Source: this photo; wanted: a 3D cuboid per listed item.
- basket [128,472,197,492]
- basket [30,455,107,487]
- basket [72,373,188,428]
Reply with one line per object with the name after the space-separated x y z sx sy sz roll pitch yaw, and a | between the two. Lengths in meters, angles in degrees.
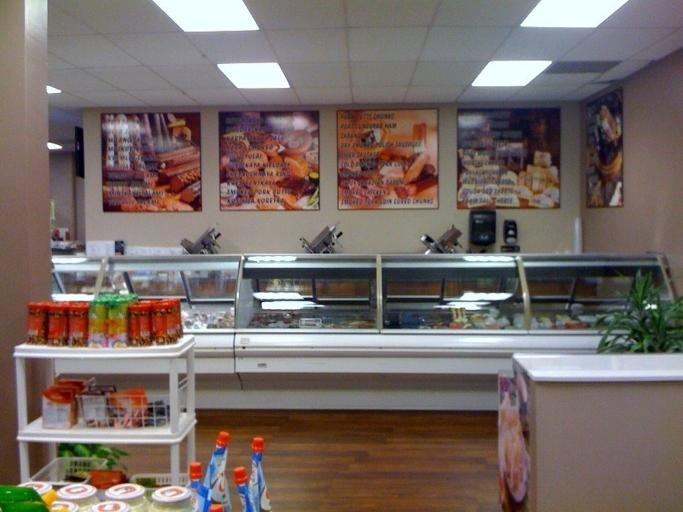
-0.986 1.248 3.158 0.304 0.115 0.211 1 -3 0 | basket
-1.501 1.175 3.151 0.272 0.100 0.185 3 6 3 | basket
-1.192 0.826 3.204 0.641 0.255 0.386 2 -3 -2 | basket
